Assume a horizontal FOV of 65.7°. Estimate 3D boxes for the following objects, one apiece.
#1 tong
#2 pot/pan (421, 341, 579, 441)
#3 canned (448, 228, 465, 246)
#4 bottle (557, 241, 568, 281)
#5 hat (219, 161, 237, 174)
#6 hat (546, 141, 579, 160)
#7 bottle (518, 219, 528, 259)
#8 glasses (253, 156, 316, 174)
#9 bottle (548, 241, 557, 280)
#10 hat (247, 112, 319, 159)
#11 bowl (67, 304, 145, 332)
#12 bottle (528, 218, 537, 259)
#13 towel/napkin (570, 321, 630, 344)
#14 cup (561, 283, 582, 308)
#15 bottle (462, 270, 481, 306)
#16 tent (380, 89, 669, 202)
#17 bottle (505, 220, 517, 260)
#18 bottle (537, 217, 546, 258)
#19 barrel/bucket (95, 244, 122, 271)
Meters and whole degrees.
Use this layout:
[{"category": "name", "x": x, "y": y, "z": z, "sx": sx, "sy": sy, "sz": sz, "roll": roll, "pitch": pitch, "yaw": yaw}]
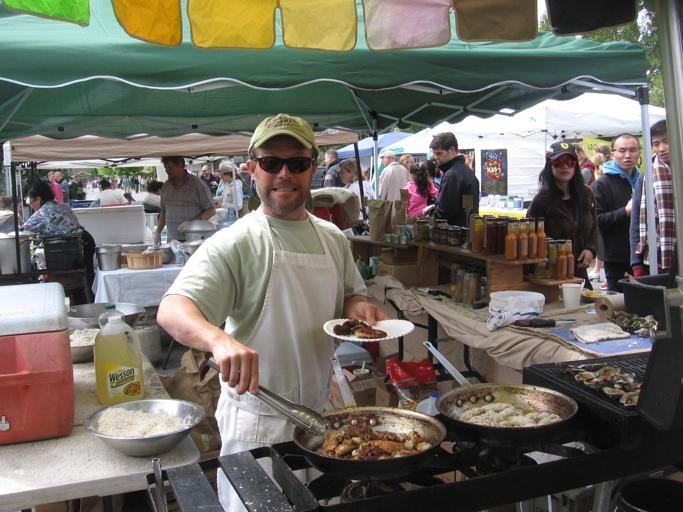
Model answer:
[{"category": "tong", "x": -0.239, "y": 0.477, "z": 1.752, "sx": 0.401, "sy": 0.103, "sz": 0.094, "roll": 27, "pitch": 2, "yaw": 7}, {"category": "pot/pan", "x": 0.495, "y": 0.515, "z": 2.004, "sx": 0.420, "sy": 0.071, "sz": 0.723, "roll": -6, "pitch": 8, "yaw": -20}, {"category": "canned", "x": 0.991, "y": -0.159, "z": 4.573, "sx": 0.169, "sy": 0.143, "sz": 0.159, "roll": 2, "pitch": 1, "yaw": -9}, {"category": "bottle", "x": 1.649, "y": 0.036, "z": 3.945, "sx": 0.066, "sy": 0.271, "sz": 0.077, "roll": -1, "pitch": 9, "yaw": 37}, {"category": "hat", "x": -2.718, "y": -2.157, "z": 12.403, "sx": 0.452, "sy": 0.284, "sz": 0.565, "roll": -3, "pitch": 21, "yaw": -13}, {"category": "hat", "x": 1.854, "y": -0.914, "z": 4.504, "sx": 0.215, "sy": 0.143, "sz": 0.266, "roll": -1, "pitch": -5, "yaw": 8}, {"category": "bottle", "x": 1.346, "y": -0.120, "z": 3.919, "sx": 0.083, "sy": 0.278, "sz": 0.048, "roll": -13, "pitch": 10, "yaw": -44}, {"category": "glasses", "x": -0.243, "y": -0.393, "z": 2.276, "sx": 0.236, "sy": 0.083, "sz": 0.075, "roll": -5, "pitch": 7, "yaw": -7}, {"category": "bottle", "x": 1.596, "y": 0.028, "z": 3.994, "sx": 0.054, "sy": 0.287, "sz": 0.107, "roll": -7, "pitch": 7, "yaw": -6}, {"category": "hat", "x": -0.265, "y": -0.536, "z": 2.333, "sx": 0.298, "sy": 0.159, "sz": 0.373, "roll": -4, "pitch": -2, "yaw": 2}, {"category": "bowl", "x": -1.519, "y": 0.372, "z": 3.358, "sx": 0.438, "sy": 0.090, "sz": 0.402, "roll": 2, "pitch": 7, "yaw": 0}, {"category": "bottle", "x": 1.435, "y": -0.126, "z": 3.959, "sx": 0.044, "sy": 0.285, "sz": 0.122, "roll": 1, "pitch": 10, "yaw": 45}, {"category": "towel/napkin", "x": 1.513, "y": 0.461, "z": 3.144, "sx": 0.364, "sy": 0.061, "sz": 0.215, "roll": -7, "pitch": 6, "yaw": -21}, {"category": "cup", "x": 1.625, "y": 0.285, "z": 3.823, "sx": 0.173, "sy": 0.158, "sz": 0.167, "roll": 0, "pitch": -1, "yaw": 0}, {"category": "bottle", "x": 1.013, "y": 0.283, "z": 4.205, "sx": 0.101, "sy": 0.203, "sz": 0.109, "roll": 0, "pitch": 6, "yaw": 0}, {"category": "tent", "x": 4.066, "y": -2.558, "z": 10.998, "sx": 4.742, "sy": 2.052, "sz": 4.295, "roll": -3, "pitch": 3, "yaw": -7}, {"category": "bottle", "x": 1.250, "y": -0.112, "z": 3.903, "sx": 0.091, "sy": 0.283, "sz": 0.066, "roll": -4, "pitch": 7, "yaw": 17}, {"category": "bottle", "x": 1.508, "y": -0.136, "z": 3.992, "sx": 0.054, "sy": 0.296, "sz": 0.138, "roll": -2, "pitch": 8, "yaw": 28}, {"category": "barrel/bucket", "x": -2.644, "y": 0.031, "z": 5.982, "sx": 0.303, "sy": 0.232, "sz": 0.277, "roll": 0, "pitch": 2, "yaw": 0}]
